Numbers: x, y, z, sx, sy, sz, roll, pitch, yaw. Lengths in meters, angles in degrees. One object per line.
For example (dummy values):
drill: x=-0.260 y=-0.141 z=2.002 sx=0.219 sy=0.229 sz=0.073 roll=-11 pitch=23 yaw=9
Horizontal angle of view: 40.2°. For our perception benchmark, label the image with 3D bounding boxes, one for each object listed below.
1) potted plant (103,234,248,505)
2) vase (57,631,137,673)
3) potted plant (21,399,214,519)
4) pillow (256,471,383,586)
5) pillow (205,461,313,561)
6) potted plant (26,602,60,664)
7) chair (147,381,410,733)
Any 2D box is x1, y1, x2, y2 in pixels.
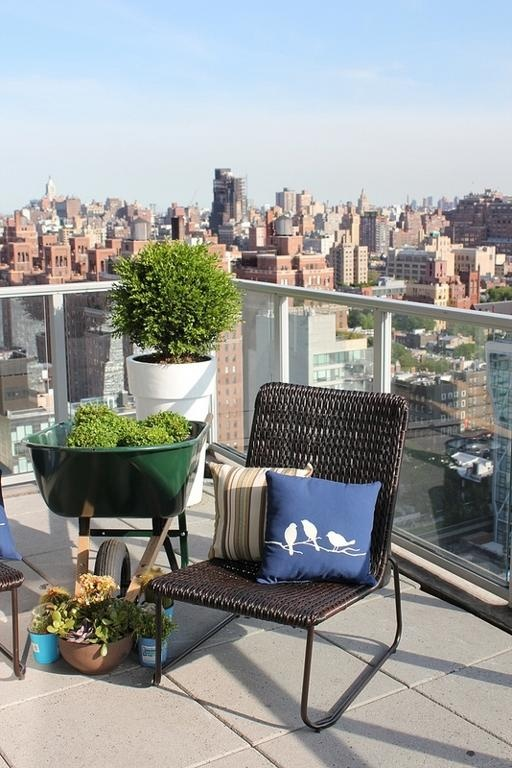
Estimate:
potted plant: x=-0.422 y=-0.108 z=3.500 sx=0.676 sy=1.299 sz=0.702 roll=10 pitch=13 yaw=-31
vase: x=-0.423 y=0.702 z=1.843 sx=0.135 sy=0.079 sz=0.135 roll=0 pitch=0 yaw=-31
potted plant: x=-0.445 y=0.259 z=2.308 sx=0.502 sy=0.279 sz=0.756 roll=0 pitch=0 yaw=-2
pillow: x=0.167 y=0.391 z=1.839 sx=0.236 sy=0.235 sz=0.089 roll=2 pitch=-29 yaw=8
pillow: x=-0.052 y=0.388 z=2.058 sx=0.289 sy=0.281 sz=0.105 roll=12 pitch=-7 yaw=-36
potted plant: x=-0.585 y=0.692 z=1.958 sx=0.090 sy=0.161 sz=0.091 roll=-2 pitch=4 yaw=-34
chair: x=0.070 y=0.434 z=1.945 sx=0.588 sy=0.835 sz=0.627 roll=4 pitch=2 yaw=37
